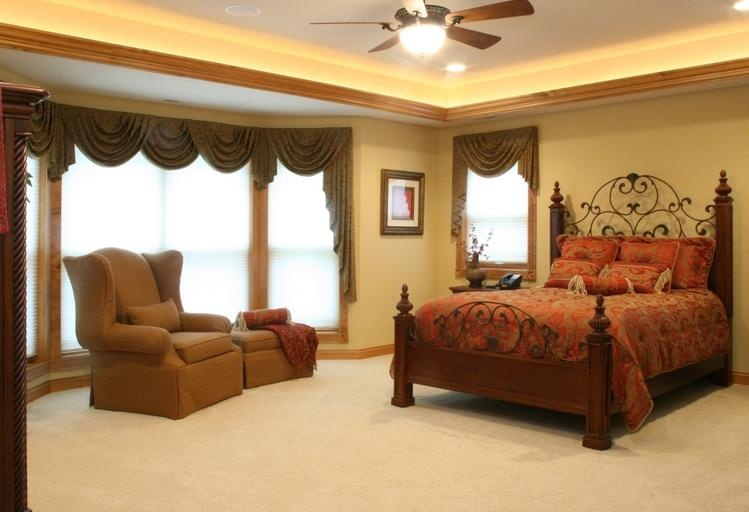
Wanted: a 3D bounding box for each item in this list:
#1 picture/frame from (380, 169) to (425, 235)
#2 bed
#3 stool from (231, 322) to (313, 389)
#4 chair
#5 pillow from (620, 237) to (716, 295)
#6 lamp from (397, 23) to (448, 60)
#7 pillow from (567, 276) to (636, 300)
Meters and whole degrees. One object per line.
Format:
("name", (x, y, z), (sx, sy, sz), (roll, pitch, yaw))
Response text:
("picture/frame", (0.347, -0.764, 7.378), (0.952, 1.103, 0.084), (1, -1, -40))
("bed", (2.039, 0.254, 5.406), (3.221, 2.311, 2.008), (-4, 6, -41))
("stool", (-1.169, 1.051, 5.829), (0.660, 0.425, 0.627), (0, -3, -36))
("chair", (-2.099, 0.662, 5.275), (1.205, 1.499, 1.052), (2, 5, 25))
("pillow", (3.298, 0.033, 5.720), (0.691, 0.661, 0.204), (2, -7, 33))
("lamp", (0.389, -1.816, 4.508), (0.399, 0.212, 0.254), (0, 4, 8))
("pillow", (2.316, 0.292, 5.485), (0.492, 0.161, 0.350), (2, 0, -10))
